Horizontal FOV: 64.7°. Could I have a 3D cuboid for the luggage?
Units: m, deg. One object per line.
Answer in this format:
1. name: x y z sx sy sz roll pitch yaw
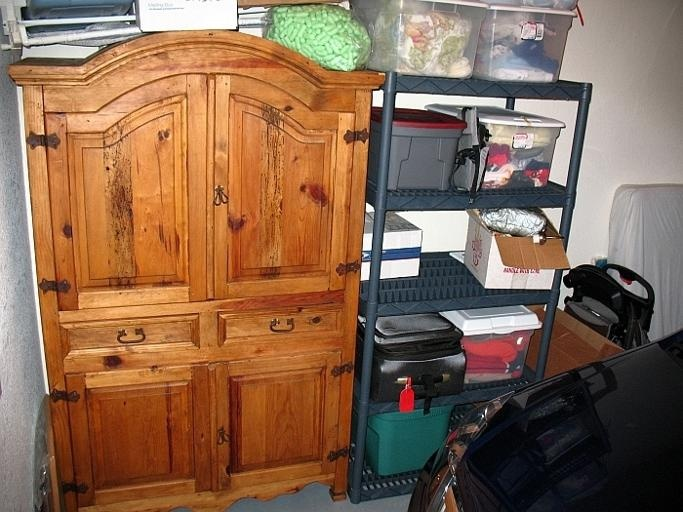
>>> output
1. luggage: 0.339 0.567 2.889 0.529 0.296 0.490 -1 5 -22
